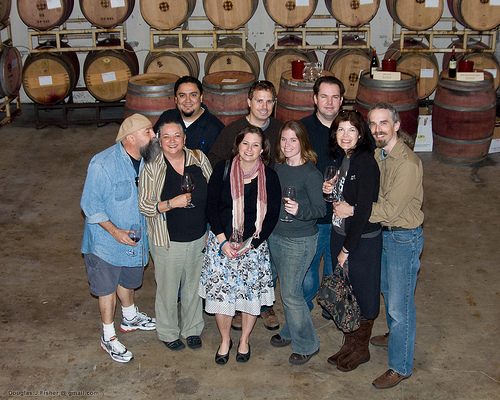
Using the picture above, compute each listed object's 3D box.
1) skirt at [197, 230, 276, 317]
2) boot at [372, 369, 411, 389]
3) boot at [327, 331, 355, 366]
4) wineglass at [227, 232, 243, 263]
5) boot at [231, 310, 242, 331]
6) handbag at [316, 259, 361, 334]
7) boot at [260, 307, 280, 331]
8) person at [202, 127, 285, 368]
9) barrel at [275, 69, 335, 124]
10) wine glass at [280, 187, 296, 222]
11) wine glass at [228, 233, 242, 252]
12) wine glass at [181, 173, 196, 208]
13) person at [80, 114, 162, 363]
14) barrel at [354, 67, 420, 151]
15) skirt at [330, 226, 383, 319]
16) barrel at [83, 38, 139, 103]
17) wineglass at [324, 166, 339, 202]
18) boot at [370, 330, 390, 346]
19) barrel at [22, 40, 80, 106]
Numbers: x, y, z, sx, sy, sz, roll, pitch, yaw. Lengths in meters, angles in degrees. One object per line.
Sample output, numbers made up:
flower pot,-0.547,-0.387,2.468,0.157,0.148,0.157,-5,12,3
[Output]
skirt,-0.115,0.541,3.044,0.515,0.639,0.566,-2,26,-7
boot,1.073,1.296,2.921,0.301,0.120,0.117,-13,42,-12
boot,0.769,1.159,3.107,0.311,0.329,0.134,9,-10,-30
wineglass,-0.103,0.332,2.785,0.109,0.252,0.171,-4,20,-11
boot,-0.110,1.089,3.544,0.073,0.150,0.219,0,-8,4
handbag,0.639,0.695,2.770,0.261,0.519,0.281,-12,35,-35
boot,0.192,1.086,3.608,0.083,0.093,0.237,-5,13,-15
person,-0.051,0.391,2.951,0.622,1.796,0.450,1,19,3
barrel,0.839,-1.468,6.025,1.034,1.057,0.899,4,22,9
wine glass,0.279,0.034,2.748,0.101,0.292,0.160,2,20,5
wine glass,-0.088,0.285,2.735,0.092,0.169,0.101,-5,58,-3
wine glass,-0.452,-0.072,2.881,0.102,0.283,0.197,-3,20,-8
person,-0.979,0.321,3.055,0.631,1.938,0.534,-10,21,-26
barrel,2.176,-1.465,6.146,0.980,0.986,0.464,7,21,18
skirt,0.759,0.505,2.734,0.477,0.695,0.262,13,27,32
barrel,-2.959,-2.704,8.365,1.064,1.227,0.790,-2,20,-7
wineglass,0.606,-0.128,2.875,0.105,0.258,0.214,4,20,11
boot,1.117,1.174,3.312,0.184,0.077,0.065,3,26,-17
barrel,-4.318,-2.704,8.443,1.028,1.294,0.800,-4,20,-11
